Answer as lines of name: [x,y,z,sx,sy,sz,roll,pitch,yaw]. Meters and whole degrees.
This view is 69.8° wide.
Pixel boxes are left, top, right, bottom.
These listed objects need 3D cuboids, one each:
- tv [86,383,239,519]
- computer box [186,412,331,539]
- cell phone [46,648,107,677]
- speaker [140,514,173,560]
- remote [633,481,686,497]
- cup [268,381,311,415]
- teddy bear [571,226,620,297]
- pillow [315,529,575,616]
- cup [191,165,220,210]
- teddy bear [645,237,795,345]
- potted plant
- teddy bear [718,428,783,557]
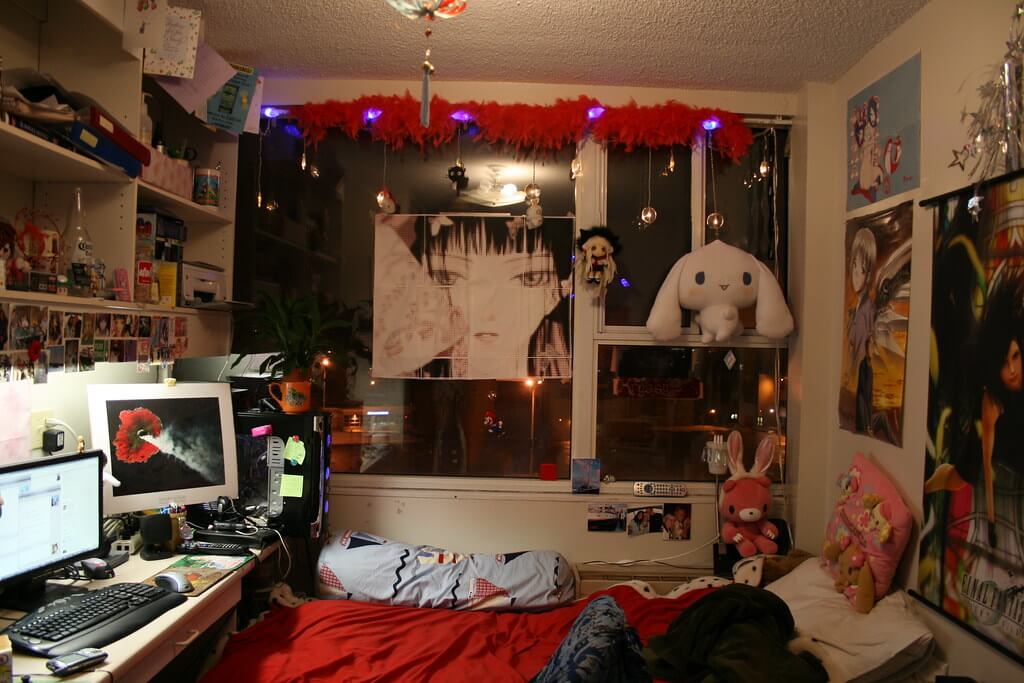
tv: [-1.622,0.499,3.386,0.636,0.634,0.067,1,-7,-32]
computer box: [-1.172,0.663,3.836,0.568,0.564,0.341,4,4,6]
cell phone: [-1.574,1.169,2.679,0.094,0.035,0.118,3,9,26]
speaker: [-1.612,0.888,3.348,0.133,0.206,0.131,1,-6,-40]
remote: [0.827,0.824,4.091,0.298,0.083,0.026,-1,-3,0]
cup: [-1.192,0.300,3.886,0.233,0.178,0.150,0,-2,6]
teddy bear: [0.483,-0.445,4.080,0.249,0.365,0.154,0,-3,-4]
pillow: [-0.369,1.201,3.756,1.021,0.306,0.506,3,-14,2]
cup: [-1.542,-0.786,3.757,0.170,0.195,0.171,2,1,0]
teddy bear: [1.137,-0.262,4.059,0.759,0.565,0.406,-1,9,10]
potted plant: [-1.163,0.105,3.926,0.651,0.508,0.562,1,-5,-19]
teddy bear: [1.261,0.819,3.895,0.294,0.641,0.349,0,1,-21]
